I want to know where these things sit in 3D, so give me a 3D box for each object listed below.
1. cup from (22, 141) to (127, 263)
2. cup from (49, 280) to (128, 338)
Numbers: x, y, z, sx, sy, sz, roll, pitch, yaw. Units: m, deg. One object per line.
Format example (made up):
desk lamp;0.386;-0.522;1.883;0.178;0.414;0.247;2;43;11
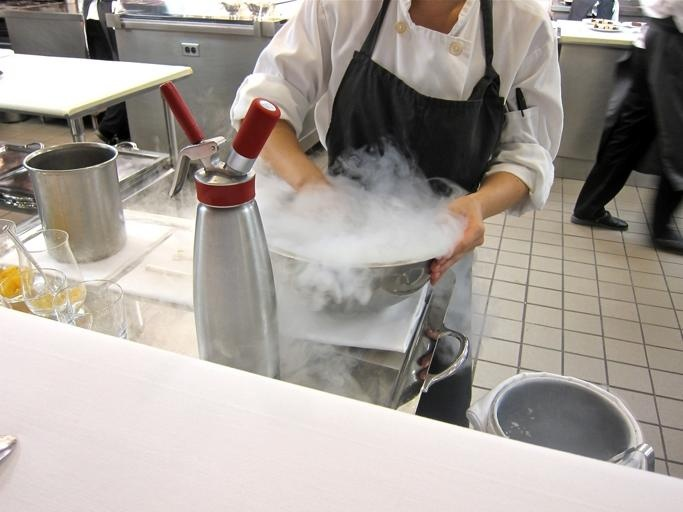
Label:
cup;-0.581;-0.114;1.086;0.181;0.211;0.191;0;19;0
cup;-0.441;0.097;0.871;0.089;0.087;0.119;8;-1;0
